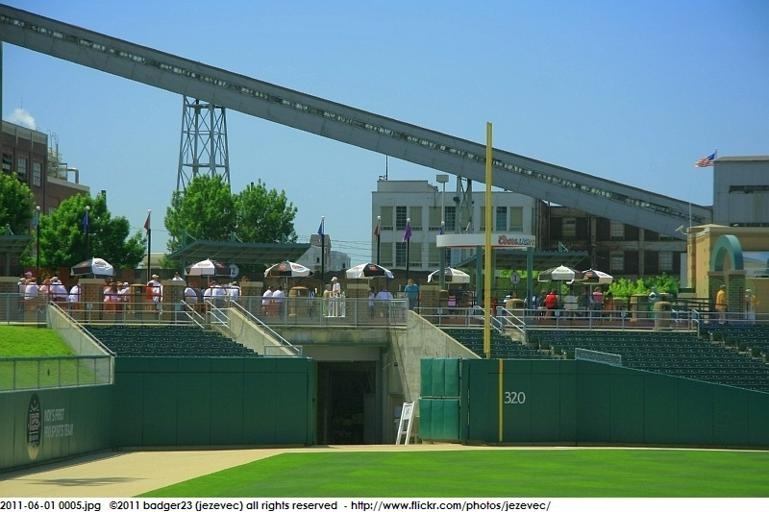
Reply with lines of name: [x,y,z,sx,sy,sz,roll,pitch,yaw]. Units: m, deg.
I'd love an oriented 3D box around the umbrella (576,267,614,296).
umbrella: [14.982,1.943,108.228,2.597,1.953,2.568,1,-4,8]

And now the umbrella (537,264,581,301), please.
umbrella: [10.357,1.265,89.649,2.447,2.042,2.689,2,-3,-2]

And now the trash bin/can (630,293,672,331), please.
trash bin/can: [14.845,3.201,84.394,2.057,1.626,2.184,-2,-1,39]

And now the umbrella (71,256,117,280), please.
umbrella: [-16.503,0.768,87.976,2.231,0.935,2.326,0,-4,18]

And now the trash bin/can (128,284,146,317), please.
trash bin/can: [-13.624,2.507,83.416,0.902,2.060,4.038,2,-5,-10]

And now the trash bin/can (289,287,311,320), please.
trash bin/can: [-4.797,2.669,85.008,1.472,2.678,1.527,-1,3,-7]
